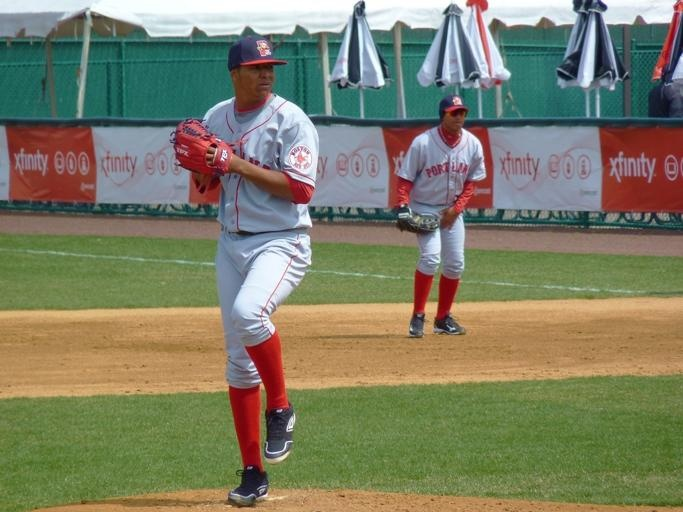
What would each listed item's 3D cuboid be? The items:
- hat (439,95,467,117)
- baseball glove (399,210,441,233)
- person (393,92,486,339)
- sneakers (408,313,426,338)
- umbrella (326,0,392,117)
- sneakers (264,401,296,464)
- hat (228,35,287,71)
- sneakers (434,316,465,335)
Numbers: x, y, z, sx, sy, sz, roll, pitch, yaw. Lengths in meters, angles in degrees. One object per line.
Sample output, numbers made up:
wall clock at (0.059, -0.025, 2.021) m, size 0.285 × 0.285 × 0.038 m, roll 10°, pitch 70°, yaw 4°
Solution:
hat at (1.367, -1.899, 18.306) m, size 0.230 × 0.183 × 0.318 m, roll -1°, pitch 1°, yaw -15°
baseball glove at (0.953, -0.435, 18.201) m, size 0.285 × 0.192 × 0.405 m, roll 3°, pitch 5°, yaw -21°
person at (1.240, -0.522, 18.441) m, size 0.995 × 3.052 × 0.866 m, roll 3°, pitch 5°, yaw 18°
sneakers at (0.934, 0.862, 18.335) m, size 0.194 × 0.305 × 0.246 m, roll 1°, pitch 5°, yaw -2°
umbrella at (0.328, -3.894, 26.525) m, size 1.070 × 1.607 × 0.475 m, roll 0°, pitch 5°, yaw -11°
sneakers at (-0.631, 1.790, 14.830) m, size 0.213 × 0.266 × 0.661 m, roll -2°, pitch 41°, yaw 6°
hat at (-0.888, -2.115, 15.023) m, size 0.657 × 0.366 × 0.477 m, roll 1°, pitch 3°, yaw 33°
sneakers at (1.335, 0.885, 18.384) m, size 0.433 × 0.239 × 0.178 m, roll -2°, pitch 0°, yaw 42°
